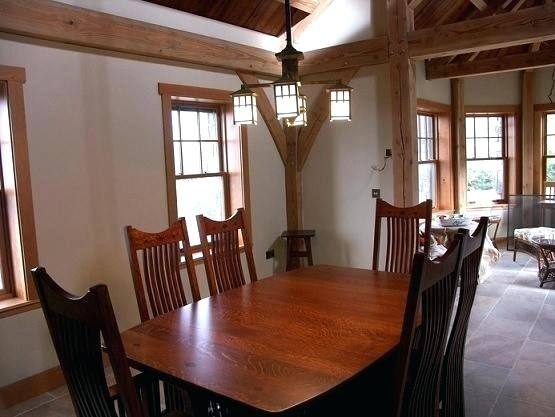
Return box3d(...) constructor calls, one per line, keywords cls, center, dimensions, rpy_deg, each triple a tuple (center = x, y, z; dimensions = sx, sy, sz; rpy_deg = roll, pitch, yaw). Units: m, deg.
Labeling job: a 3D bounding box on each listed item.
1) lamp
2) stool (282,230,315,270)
box3d(cls="lamp", center=(0.202, -1.108, 3.224), dimensions=(0.723, 0.913, 2.032), rpy_deg=(0, 12, 10))
box3d(cls="stool", center=(0.262, 0.522, 5.227), dimensions=(0.400, 0.491, 0.384), rpy_deg=(-6, 19, -3))
